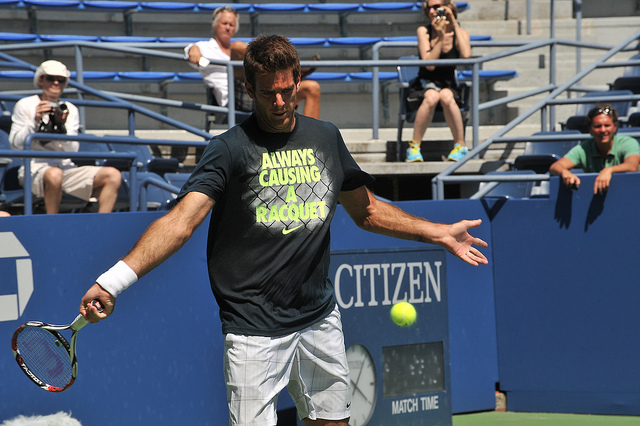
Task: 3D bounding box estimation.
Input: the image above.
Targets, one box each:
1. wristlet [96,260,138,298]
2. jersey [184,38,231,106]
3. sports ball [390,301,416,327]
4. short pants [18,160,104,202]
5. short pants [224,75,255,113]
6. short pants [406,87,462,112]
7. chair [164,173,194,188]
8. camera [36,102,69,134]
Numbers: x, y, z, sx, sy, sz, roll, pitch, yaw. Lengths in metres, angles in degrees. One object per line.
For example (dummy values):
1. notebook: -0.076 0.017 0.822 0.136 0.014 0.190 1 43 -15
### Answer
1. wristlet: -2.009 0.653 14.245 0.390 0.372 0.135 1 2 -11
2. jersey: -1.452 -1.854 18.708 0.467 1.003 0.563 10 -5 -30
3. sports ball: 0.909 1.131 16.190 0.257 0.246 0.260 1 25 0
4. short pants: -3.027 -0.371 16.832 0.955 0.464 0.263 0 2 -24
5. short pants: -1.077 -1.516 18.019 0.460 0.479 0.561 -4 -3 0
6. short pants: 1.465 -1.487 18.826 0.723 0.314 0.401 1 1 7
7. chair: -1.698 -0.381 17.139 0.282 0.187 0.153 -1 15 -7
8. camera: -3.142 -1.119 17.005 0.365 0.358 0.145 10 11 -31
